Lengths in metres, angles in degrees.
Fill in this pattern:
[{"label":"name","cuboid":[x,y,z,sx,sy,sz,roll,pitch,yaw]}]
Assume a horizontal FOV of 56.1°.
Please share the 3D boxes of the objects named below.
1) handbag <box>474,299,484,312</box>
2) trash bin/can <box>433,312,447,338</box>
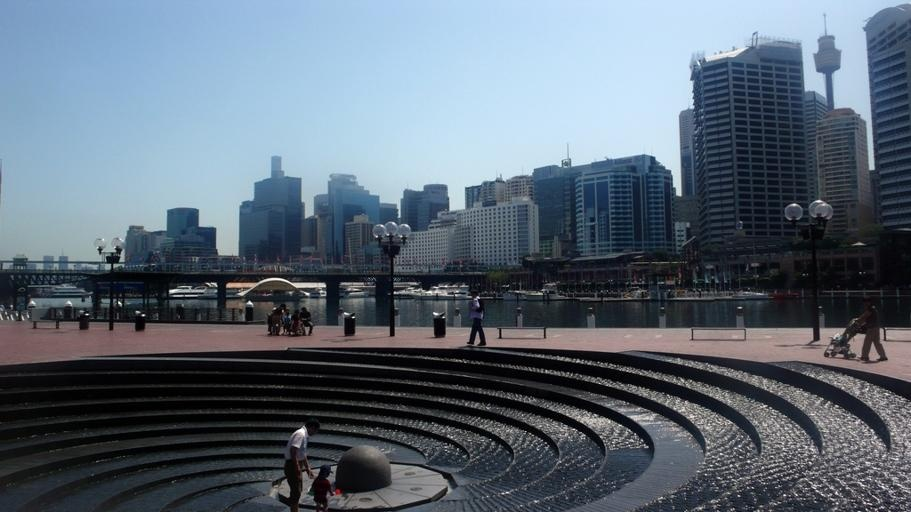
[{"label":"handbag","cuboid":[2.118,4.227,72.578,0.323,1.138,0.830,-3,-3,32]},{"label":"trash bin/can","cuboid":[-1.365,6.256,76.736,0.946,2.051,1.041,-2,-2,7]}]
